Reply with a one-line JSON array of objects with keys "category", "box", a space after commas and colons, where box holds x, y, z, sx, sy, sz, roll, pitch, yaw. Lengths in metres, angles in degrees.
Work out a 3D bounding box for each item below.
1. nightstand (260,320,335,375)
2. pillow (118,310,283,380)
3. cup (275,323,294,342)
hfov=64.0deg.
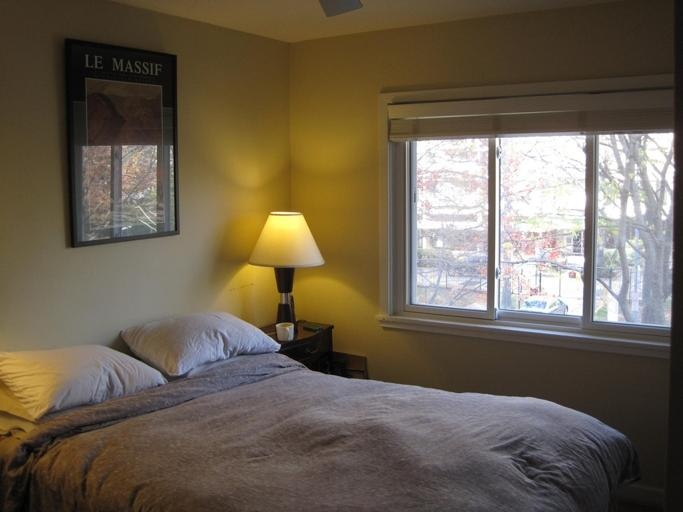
[{"category": "nightstand", "box": [-0.312, 0.640, 3.987, 0.349, 0.465, 0.489, 5, 13, 29]}, {"category": "pillow", "box": [-0.828, 0.505, 3.229, 0.471, 0.146, 0.472, -2, 12, -39]}, {"category": "cup", "box": [-0.397, 0.536, 3.807, 0.123, 0.087, 0.098, -3, 4, -9]}]
